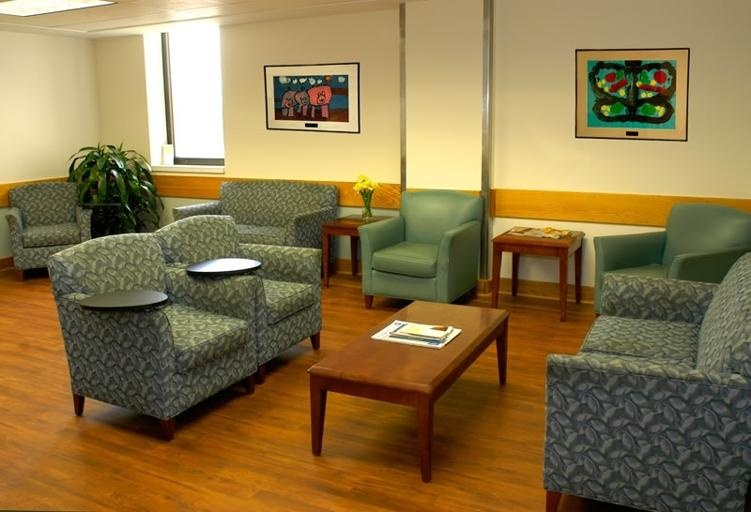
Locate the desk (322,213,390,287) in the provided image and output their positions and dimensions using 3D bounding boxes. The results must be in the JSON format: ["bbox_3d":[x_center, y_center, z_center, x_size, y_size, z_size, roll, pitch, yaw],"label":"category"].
[{"bbox_3d":[-0.404,-0.092,6.623,0.919,0.837,1.022,7,12,35],"label":"desk"}]

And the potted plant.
[{"bbox_3d":[-3.764,-0.944,7.556,0.970,1.081,0.963,-1,-5,-18],"label":"potted plant"}]

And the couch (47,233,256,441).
[{"bbox_3d":[-1.565,0.424,4.374,1.651,1.521,1.308,5,12,26],"label":"couch"}]

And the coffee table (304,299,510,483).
[{"bbox_3d":[0.323,0.769,3.795,0.839,0.464,1.480,7,16,30],"label":"coffee table"}]

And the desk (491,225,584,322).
[{"bbox_3d":[1.638,0.140,5.811,1.189,0.958,0.995,4,11,28],"label":"desk"}]

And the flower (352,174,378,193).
[{"bbox_3d":[-0.140,-0.840,6.348,0.264,0.207,0.250,-6,11,-32],"label":"flower"}]

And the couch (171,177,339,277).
[{"bbox_3d":[-1.262,-0.584,6.715,2.024,1.060,1.021,3,9,14],"label":"couch"}]

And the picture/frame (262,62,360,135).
[{"bbox_3d":[-0.816,-1.978,6.821,0.020,0.798,1.468,19,25,38],"label":"picture/frame"}]

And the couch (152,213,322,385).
[{"bbox_3d":[-1.141,0.206,4.793,1.538,1.433,1.243,6,14,31],"label":"couch"}]
